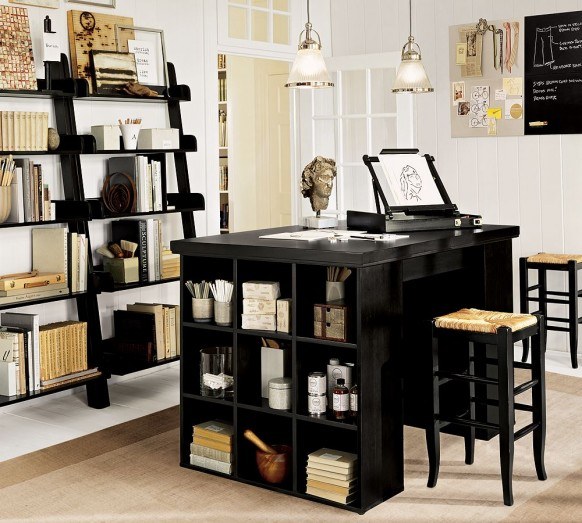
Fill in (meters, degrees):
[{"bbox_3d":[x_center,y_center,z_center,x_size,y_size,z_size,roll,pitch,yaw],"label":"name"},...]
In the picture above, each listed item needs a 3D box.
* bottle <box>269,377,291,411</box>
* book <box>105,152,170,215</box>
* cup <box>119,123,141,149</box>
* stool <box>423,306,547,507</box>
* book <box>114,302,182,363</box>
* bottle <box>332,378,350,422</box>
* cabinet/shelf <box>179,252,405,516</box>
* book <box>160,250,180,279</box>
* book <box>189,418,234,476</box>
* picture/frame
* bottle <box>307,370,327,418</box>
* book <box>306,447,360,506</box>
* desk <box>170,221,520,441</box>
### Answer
[{"bbox_3d":[-0.043,0.574,2.610,0.104,0.109,0.096,1,1,21],"label":"bottle"},{"bbox_3d":[-1.062,-0.506,4.114,0.478,0.513,0.368,4,5,38],"label":"book"},{"bbox_3d":[-1.088,-0.864,4.141,0.151,0.187,0.149,0,6,0],"label":"cup"},{"bbox_3d":[0.846,0.599,2.598,0.436,0.740,0.448,-1,1,34],"label":"stool"},{"bbox_3d":[-0.997,0.408,4.200,0.445,0.471,0.372,5,6,37],"label":"book"},{"bbox_3d":[0.205,0.563,2.480,0.070,0.157,0.103,-1,4,2],"label":"bottle"},{"bbox_3d":[-0.130,0.306,2.734,1.043,0.370,1.100,-7,49,-7],"label":"cabinet/shelf"},{"bbox_3d":[-0.844,0.016,4.115,0.101,0.126,0.186,0,3,2],"label":"book"},{"bbox_3d":[-0.365,0.858,2.779,0.180,0.128,0.190,3,6,27],"label":"book"},{"bbox_3d":[-1.039,-1.491,4.239,0.298,0.379,0.022,-11,-31,-5],"label":"picture/frame"},{"bbox_3d":[0.103,0.553,2.481,0.077,0.169,0.064,0,4,14],"label":"bottle"},{"bbox_3d":[0.180,0.849,2.482,0.214,0.167,0.163,4,6,39],"label":"book"},{"bbox_3d":[0.247,-0.148,2.906,0.976,1.152,1.754,5,10,38],"label":"desk"}]
